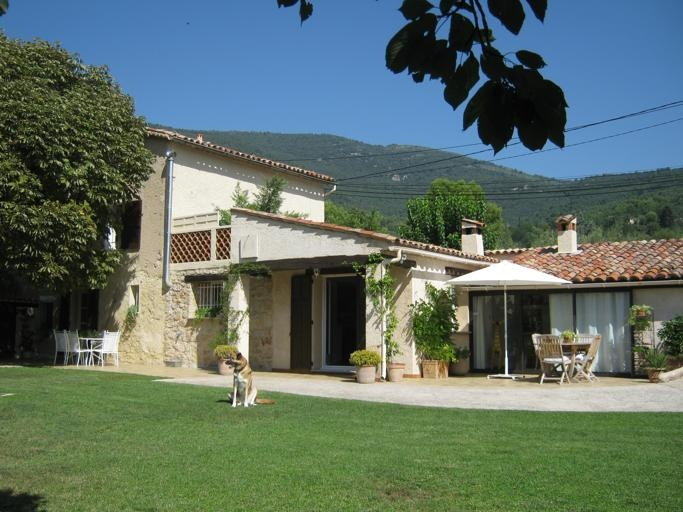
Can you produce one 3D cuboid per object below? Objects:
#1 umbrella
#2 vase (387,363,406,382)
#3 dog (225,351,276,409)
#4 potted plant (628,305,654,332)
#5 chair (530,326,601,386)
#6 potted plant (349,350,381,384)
[{"bbox_3d":[4.171,1.604,16.510,2.468,2.911,3.023,0,1,16],"label":"umbrella"},{"bbox_3d":[1.287,2.734,15.345,0.372,0.311,0.394,1,-17,0],"label":"vase"},{"bbox_3d":[-1.639,2.160,11.669,0.814,0.944,0.649,3,-8,-28],"label":"dog"},{"bbox_3d":[7.288,1.549,16.032,0.574,0.693,0.607,0,-10,9],"label":"potted plant"},{"bbox_3d":[5.236,2.300,15.331,1.285,0.856,1.253,1,-4,-30],"label":"chair"},{"bbox_3d":[0.553,2.554,15.316,0.722,0.762,0.671,1,-17,-4],"label":"potted plant"}]
